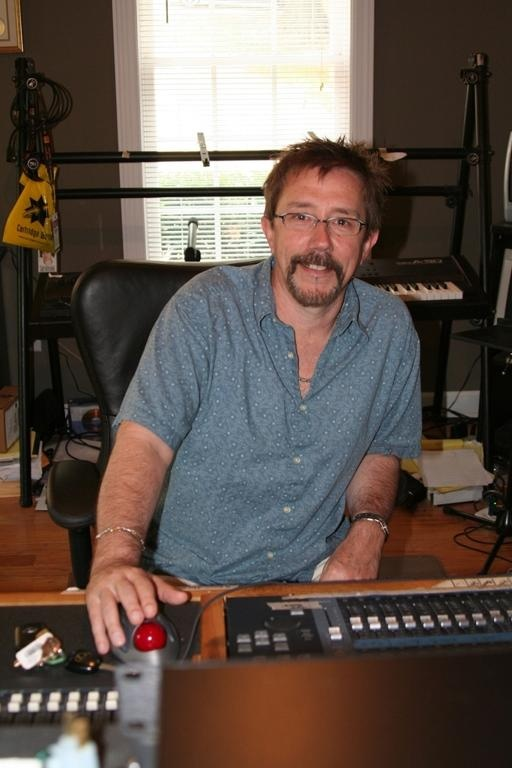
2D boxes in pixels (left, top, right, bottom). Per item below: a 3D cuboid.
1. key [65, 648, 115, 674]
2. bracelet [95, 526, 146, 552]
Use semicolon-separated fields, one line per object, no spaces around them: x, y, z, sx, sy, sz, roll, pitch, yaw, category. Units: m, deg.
-0.179;0.292;0.667;0.038;0.009;0.022;5;8;-10;key
-0.188;0.215;0.878;0.062;0.036;0.056;-5;-9;-12;bracelet
